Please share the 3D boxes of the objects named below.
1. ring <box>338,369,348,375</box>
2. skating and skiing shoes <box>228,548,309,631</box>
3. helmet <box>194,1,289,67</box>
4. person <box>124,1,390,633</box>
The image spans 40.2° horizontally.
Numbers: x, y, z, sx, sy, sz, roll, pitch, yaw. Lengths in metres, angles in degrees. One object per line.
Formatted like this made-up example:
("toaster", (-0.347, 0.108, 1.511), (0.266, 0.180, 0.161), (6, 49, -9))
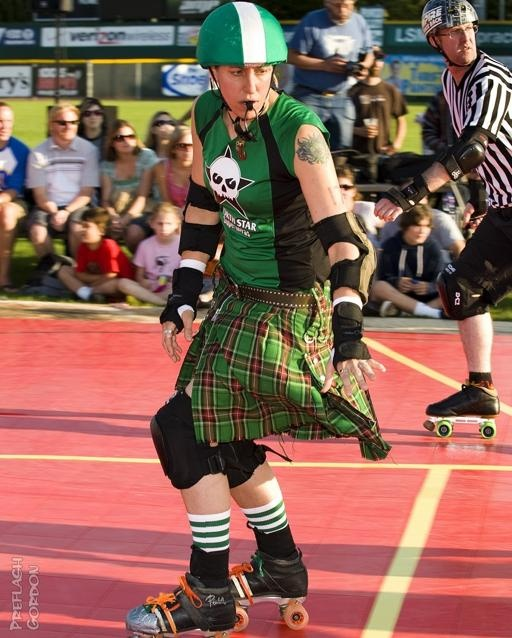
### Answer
("ring", (0.182, 0.112, 1.487), (0.015, 0.005, 0.015), (-7, 1, 0))
("skating and skiing shoes", (-0.027, 0.733, 1.903), (0.336, 0.184, 0.134), (3, -2, 2))
("helmet", (-0.054, -0.669, 1.702), (0.237, 0.161, 0.220), (-6, 24, -10))
("person", (0.025, 0.022, 1.734), (0.609, 1.626, 0.514), (2, 7, 14))
